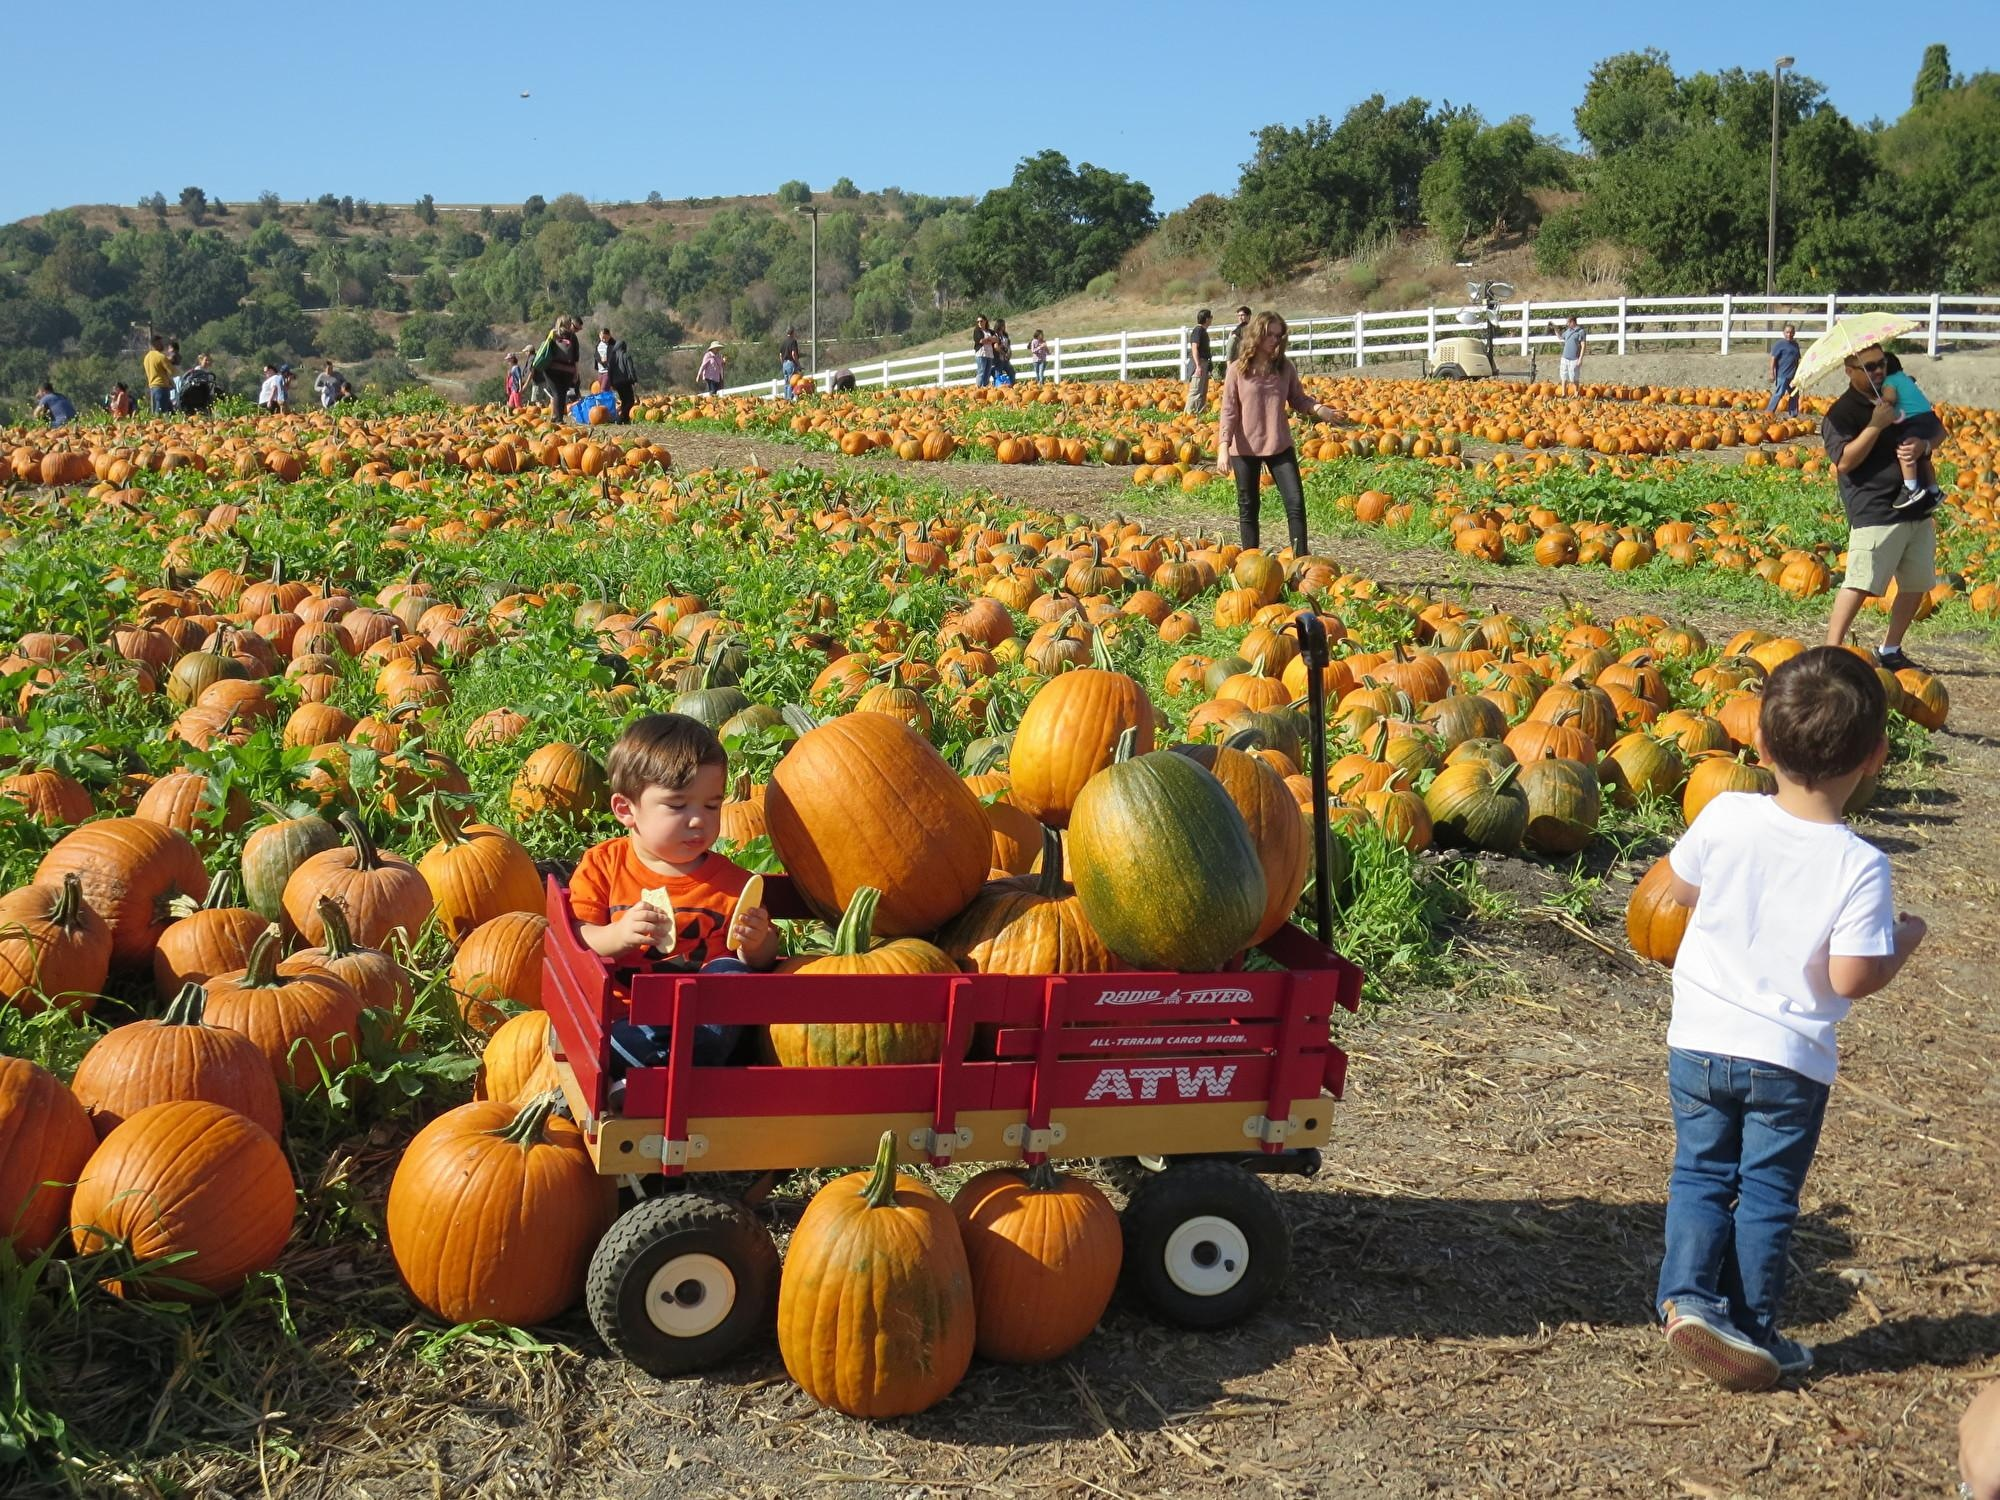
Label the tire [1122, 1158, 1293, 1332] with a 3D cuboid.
[{"bbox_3d":[0.525,1.264,4.273,0.320,0.320,0.112,25,5,-9],"label":"tire"}]

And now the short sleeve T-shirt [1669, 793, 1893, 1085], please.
[{"bbox_3d":[1.999,0.496,4.388,0.346,0.728,0.677,-7,14,-34],"label":"short sleeve T-shirt"}]

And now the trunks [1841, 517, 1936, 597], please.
[{"bbox_3d":[5.291,-1.144,9.989,0.552,0.374,0.210,-3,4,-26],"label":"trunks"}]

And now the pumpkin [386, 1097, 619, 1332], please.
[{"bbox_3d":[-1.247,1.184,4.368,0.552,0.546,0.553,12,17,-4],"label":"pumpkin"}]

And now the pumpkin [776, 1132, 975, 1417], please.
[{"bbox_3d":[-0.285,1.212,4.170,0.597,0.805,0.601,1,0,-7],"label":"pumpkin"}]

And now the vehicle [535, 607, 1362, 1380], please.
[{"bbox_3d":[-0.127,0.660,4.483,1.858,1.036,1.383,-1,13,-9],"label":"vehicle"}]

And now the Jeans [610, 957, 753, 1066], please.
[{"bbox_3d":[-0.809,0.638,4.175,0.284,0.106,0.276,-1,-2,-42],"label":"Jeans"}]

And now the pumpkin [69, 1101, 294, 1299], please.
[{"bbox_3d":[-2.003,1.109,4.113,0.459,0.426,0.283,-2,11,-2],"label":"pumpkin"}]

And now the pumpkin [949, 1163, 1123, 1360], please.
[{"bbox_3d":[0.116,1.219,4.318,0.451,0.517,0.457,3,3,27],"label":"pumpkin"}]

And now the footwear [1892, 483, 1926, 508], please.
[{"bbox_3d":[5.283,-1.471,9.754,0.202,0.077,0.091,-19,49,-17],"label":"footwear"}]

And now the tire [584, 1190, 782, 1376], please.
[{"bbox_3d":[-0.764,1.292,4.038,0.395,0.376,0.147,6,6,-15],"label":"tire"}]
